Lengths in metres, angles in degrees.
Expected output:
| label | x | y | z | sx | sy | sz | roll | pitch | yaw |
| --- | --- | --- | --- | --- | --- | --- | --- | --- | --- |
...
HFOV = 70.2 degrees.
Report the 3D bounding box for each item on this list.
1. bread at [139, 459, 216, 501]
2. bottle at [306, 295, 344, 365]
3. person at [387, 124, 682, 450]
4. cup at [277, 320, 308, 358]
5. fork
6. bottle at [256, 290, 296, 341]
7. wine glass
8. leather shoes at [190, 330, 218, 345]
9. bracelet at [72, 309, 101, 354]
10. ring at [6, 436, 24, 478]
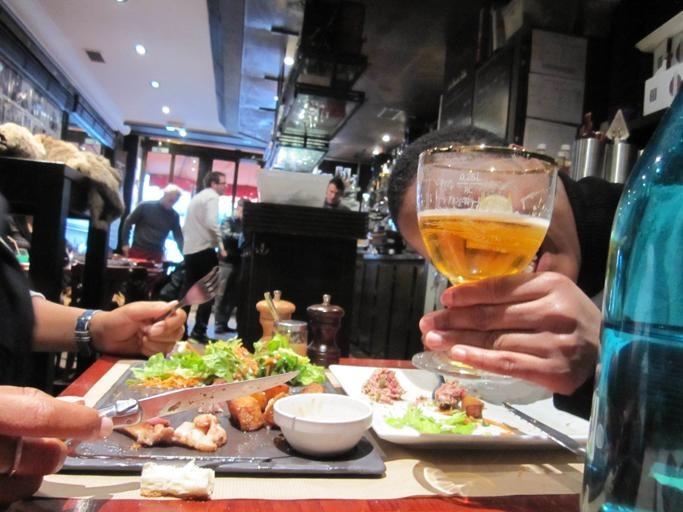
| label | x | y | z | sx | sy | sz | roll | pitch | yaw |
| --- | --- | --- | --- | --- | --- | --- | --- | --- | --- |
| bread | -0.265 | 0.357 | 0.787 | 0.087 | 0.032 | 0.059 | 2 | 6 | 0 |
| bottle | -0.056 | 0.262 | 1.614 | 0.119 | 0.259 | 0.116 | 2 | -2 | 0 |
| person | 0.399 | -0.011 | 1.217 | 0.830 | 0.767 | 0.492 | -4 | 9 | -27 |
| cup | -0.137 | 0.278 | 1.553 | 0.110 | 0.122 | 0.108 | -5 | -1 | 0 |
| fork | -0.464 | 0.154 | 1.399 | 0.055 | 0.080 | 0.393 | -11 | -22 | -49 |
| bottle | -0.239 | 0.230 | 1.723 | 0.147 | 0.202 | 0.134 | 5 | 1 | 0 |
| wine glass | 0.227 | -0.017 | 0.793 | 0.189 | 0.308 | 0.204 | 8 | 15 | 20 |
| leather shoes | -1.558 | 0.882 | 5.330 | 0.158 | 0.099 | 0.364 | -3 | 12 | -37 |
| bracelet | -0.780 | 0.221 | 1.429 | 0.064 | 0.108 | 0.102 | 2 | -1 | -3 |
| ring | -0.487 | 0.302 | 0.723 | 0.024 | 0.063 | 0.022 | 4 | 9 | -1 |
